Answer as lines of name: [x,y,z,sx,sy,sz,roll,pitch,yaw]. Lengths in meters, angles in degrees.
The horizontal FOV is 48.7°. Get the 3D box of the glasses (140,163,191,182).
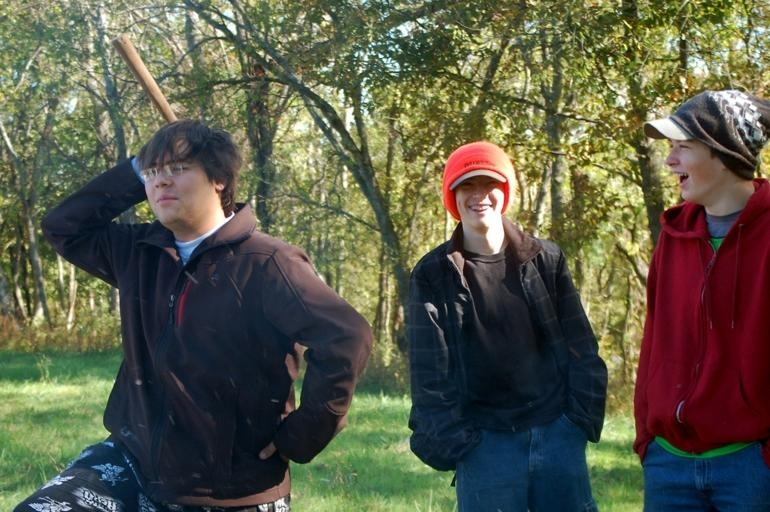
glasses: [-2.012,-0.777,7.787,0.227,0.070,0.244,-14,-11,18]

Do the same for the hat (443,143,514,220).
hat: [0.932,-0.721,8.371,0.554,0.555,0.804,0,-21,7]
